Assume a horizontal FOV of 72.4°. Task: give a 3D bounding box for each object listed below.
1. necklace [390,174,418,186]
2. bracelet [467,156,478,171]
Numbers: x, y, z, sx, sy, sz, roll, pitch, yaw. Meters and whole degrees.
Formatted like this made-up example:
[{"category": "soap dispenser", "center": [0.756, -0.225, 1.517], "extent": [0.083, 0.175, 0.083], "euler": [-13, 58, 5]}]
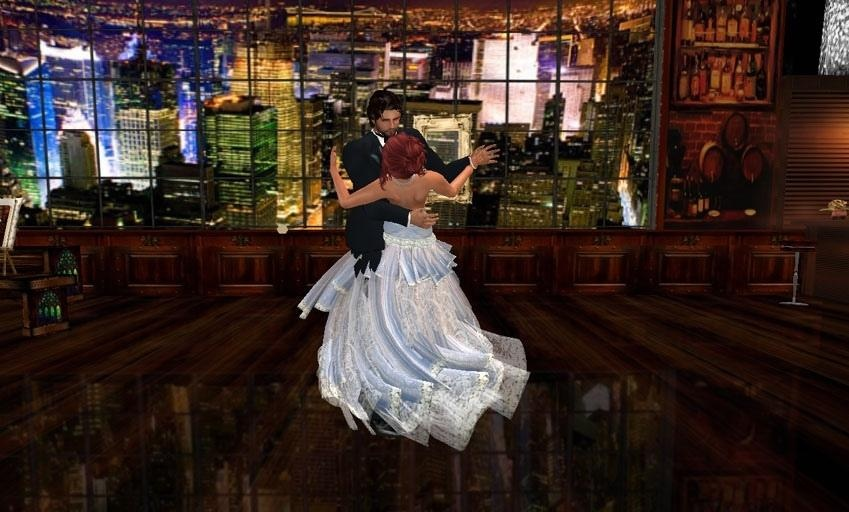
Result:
[{"category": "necklace", "center": [-0.209, -0.678, 5.236], "extent": [0.131, 0.057, 0.168], "euler": [-9, 5, -42]}, {"category": "bracelet", "center": [0.463, -0.914, 5.572], "extent": [0.112, 0.052, 0.144], "euler": [-1, 36, 1]}]
